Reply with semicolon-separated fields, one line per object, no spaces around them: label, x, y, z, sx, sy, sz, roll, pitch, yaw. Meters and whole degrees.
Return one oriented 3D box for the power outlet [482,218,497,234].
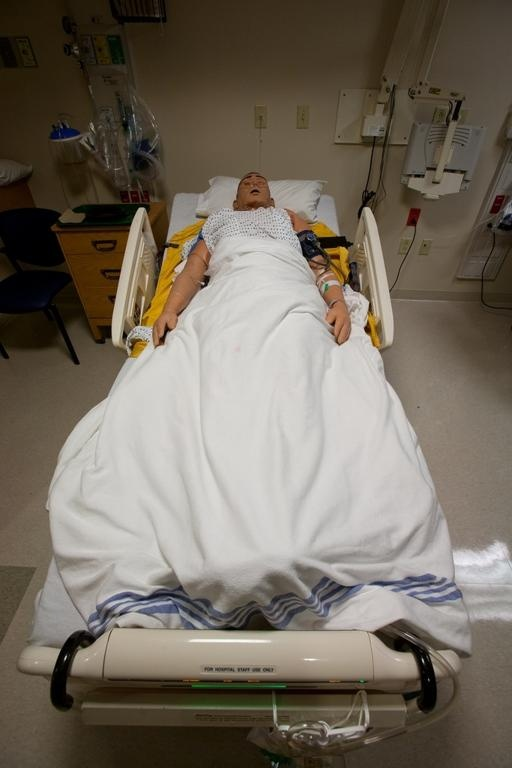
power outlet;1.196;-0.814;2.765;0.037;0.060;0.060;10;2;10

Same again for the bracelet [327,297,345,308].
bracelet;0.272;-0.274;1.846;0.046;0.024;0.037;3;28;40

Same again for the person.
person;-0.045;-0.513;2.068;0.719;0.215;0.873;-7;43;2

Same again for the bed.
bed;-0.047;0.243;1.425;0.764;0.322;1.107;7;38;-6

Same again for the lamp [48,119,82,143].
lamp;-0.843;-1.099;2.335;0.123;0.072;0.124;-4;39;-14

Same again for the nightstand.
nightstand;-0.636;-0.539;2.593;0.427;0.598;0.298;5;42;13
